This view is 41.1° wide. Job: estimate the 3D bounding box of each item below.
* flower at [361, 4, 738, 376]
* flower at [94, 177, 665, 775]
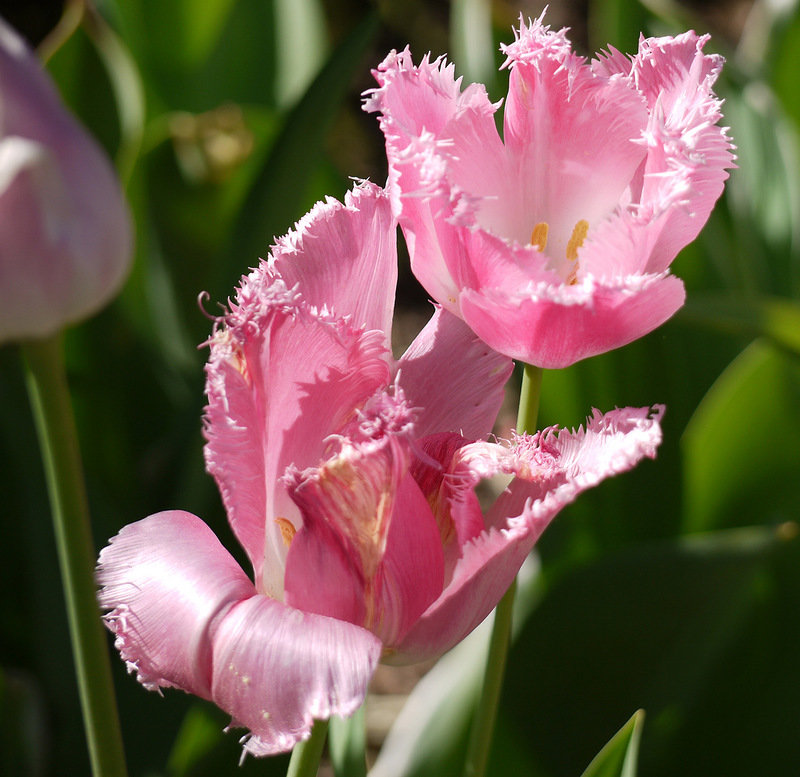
[{"bbox_3d":[0.046,-0.055,0.378,0.128,0.120,0.136,4,-4,10],"label":"flower"},{"bbox_3d":[0.003,0.072,0.361,0.156,0.100,0.195,-1,58,19],"label":"flower"}]
